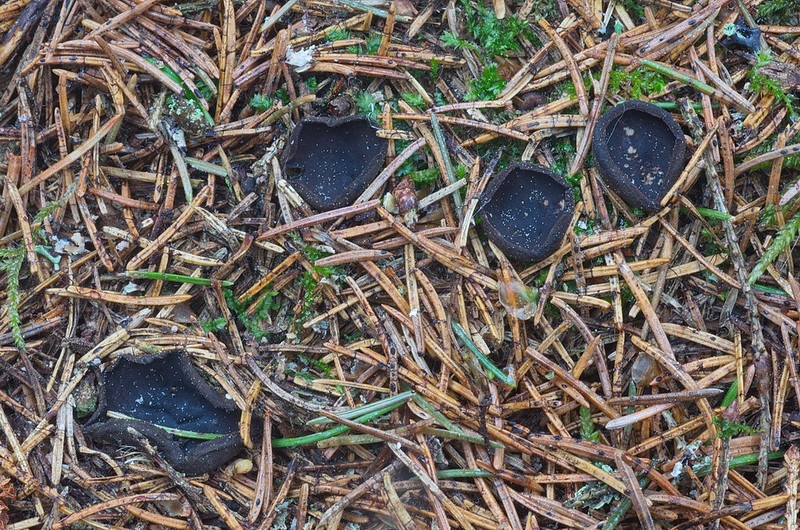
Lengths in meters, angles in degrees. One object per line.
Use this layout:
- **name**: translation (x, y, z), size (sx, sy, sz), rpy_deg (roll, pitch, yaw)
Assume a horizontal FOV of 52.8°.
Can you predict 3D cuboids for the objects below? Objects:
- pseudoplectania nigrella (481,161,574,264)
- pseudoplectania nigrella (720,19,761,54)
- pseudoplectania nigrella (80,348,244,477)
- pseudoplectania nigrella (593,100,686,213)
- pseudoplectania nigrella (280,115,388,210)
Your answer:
- **pseudoplectania nigrella**: translation (0.666, -0.299, 4.221), size (0.464, 0.112, 0.486), rpy_deg (38, 84, 4)
- **pseudoplectania nigrella**: translation (1.826, -1.218, 4.270), size (0.222, 0.068, 0.150), rpy_deg (21, 83, 2)
- **pseudoplectania nigrella**: translation (-1.208, 0.754, 4.264), size (0.841, 0.200, 0.595), rpy_deg (20, 83, 2)
- **pseudoplectania nigrella**: translation (1.249, -0.601, 4.211), size (0.511, 0.083, 0.477), rpy_deg (35, 84, 4)
- **pseudoplectania nigrella**: translation (-0.197, -0.571, 4.552), size (0.694, 0.680, 0.299), rpy_deg (1, 67, 35)
